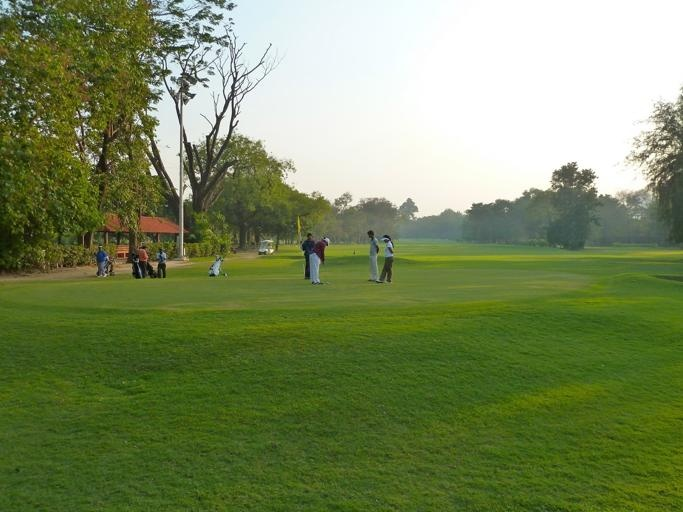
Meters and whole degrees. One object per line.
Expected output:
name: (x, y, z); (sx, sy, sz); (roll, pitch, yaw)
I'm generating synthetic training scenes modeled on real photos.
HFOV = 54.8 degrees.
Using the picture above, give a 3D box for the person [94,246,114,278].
person: (-12.566, 0.207, 34.847); (0.759, 1.559, 2.237); (0, 1, -19)
